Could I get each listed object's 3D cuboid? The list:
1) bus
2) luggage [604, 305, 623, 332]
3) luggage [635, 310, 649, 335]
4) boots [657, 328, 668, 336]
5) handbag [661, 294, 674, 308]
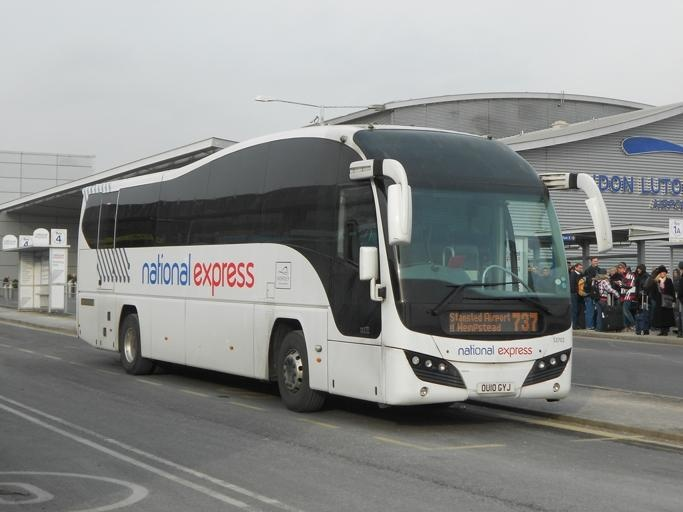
[{"bbox_3d":[-1.307,0.265,14.350,4.032,4.551,11.607,3,-4,-32],"label":"bus"},{"bbox_3d":[9.311,2.184,24.857,0.768,1.181,0.347,1,-4,-24],"label":"luggage"},{"bbox_3d":[10.140,2.226,24.410,0.424,0.781,0.972,0,-1,23],"label":"luggage"},{"bbox_3d":[10.619,2.527,23.965,0.282,0.212,0.813,0,-1,22],"label":"boots"},{"bbox_3d":[10.531,1.456,23.522,0.493,0.541,0.326,1,-2,-28],"label":"handbag"}]
